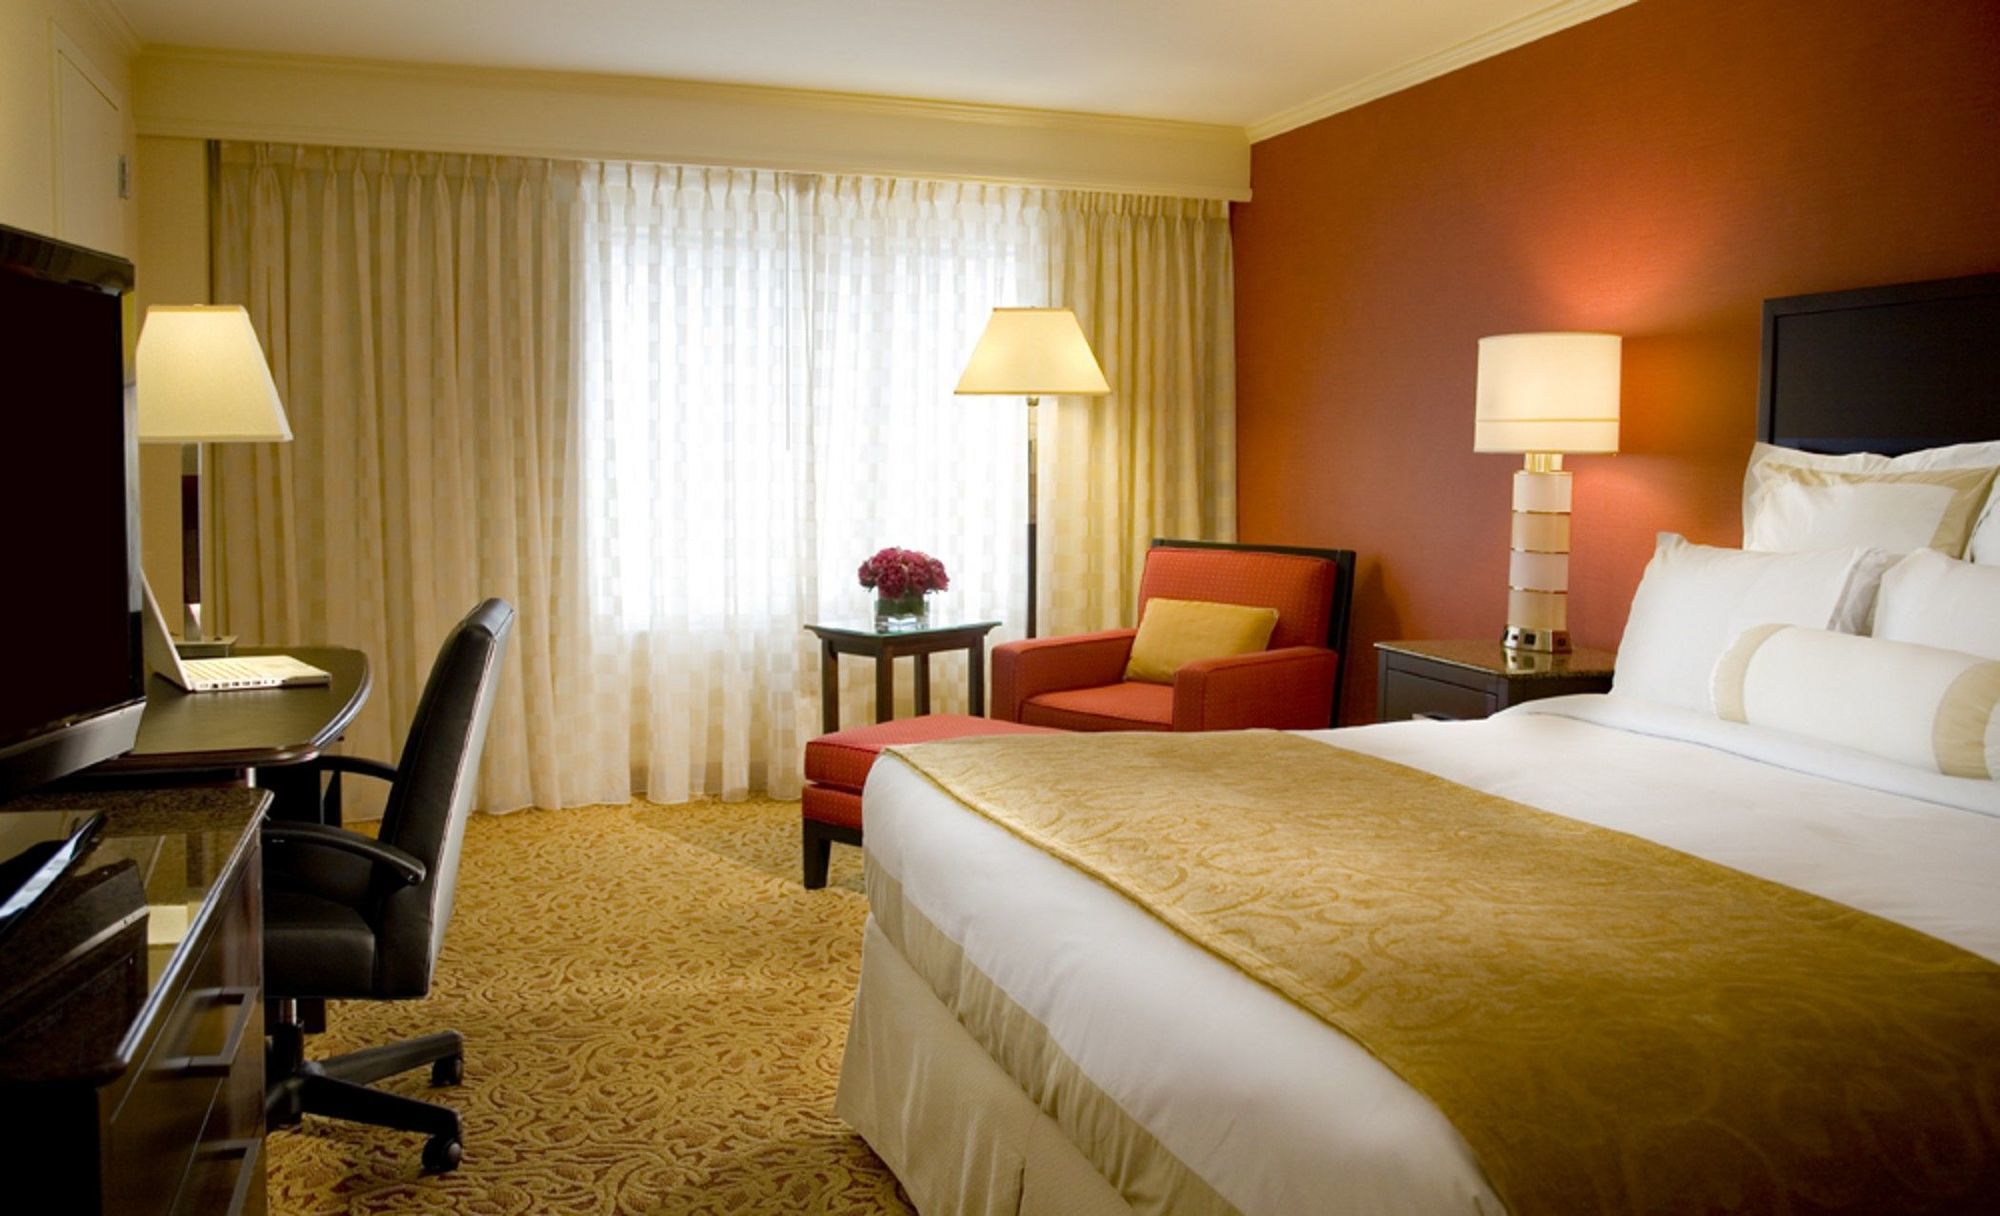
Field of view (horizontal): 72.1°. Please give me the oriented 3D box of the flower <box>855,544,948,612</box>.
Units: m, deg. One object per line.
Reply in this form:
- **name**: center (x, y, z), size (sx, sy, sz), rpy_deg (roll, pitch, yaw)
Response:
- **flower**: center (-0.427, -0.101, 5.897), size (0.303, 0.216, 0.302), rpy_deg (2, -3, -34)

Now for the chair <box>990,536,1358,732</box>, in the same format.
- **chair**: center (0.785, 0.173, 5.979), size (1.010, 1.150, 1.094), rpy_deg (4, 3, 42)

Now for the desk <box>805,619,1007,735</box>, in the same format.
- **desk**: center (-0.447, 0.197, 6.078), size (0.690, 0.678, 0.583), rpy_deg (-6, 10, -39)

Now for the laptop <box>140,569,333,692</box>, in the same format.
- **laptop**: center (-2.216, -0.009, 3.998), size (0.449, 0.314, 0.513), rpy_deg (0, 5, -27)

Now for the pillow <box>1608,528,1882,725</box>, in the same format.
- **pillow**: center (2.148, 0.049, 4.037), size (0.160, 0.515, 0.540), rpy_deg (18, -4, -21)

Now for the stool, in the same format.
- **stool**: center (-0.329, 0.687, 5.192), size (0.709, 0.512, 0.723), rpy_deg (-3, 7, -28)

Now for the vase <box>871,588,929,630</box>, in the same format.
- **vase**: center (-0.411, 0.013, 5.868), size (0.272, 0.183, 0.149), rpy_deg (-1, 2, -25)
